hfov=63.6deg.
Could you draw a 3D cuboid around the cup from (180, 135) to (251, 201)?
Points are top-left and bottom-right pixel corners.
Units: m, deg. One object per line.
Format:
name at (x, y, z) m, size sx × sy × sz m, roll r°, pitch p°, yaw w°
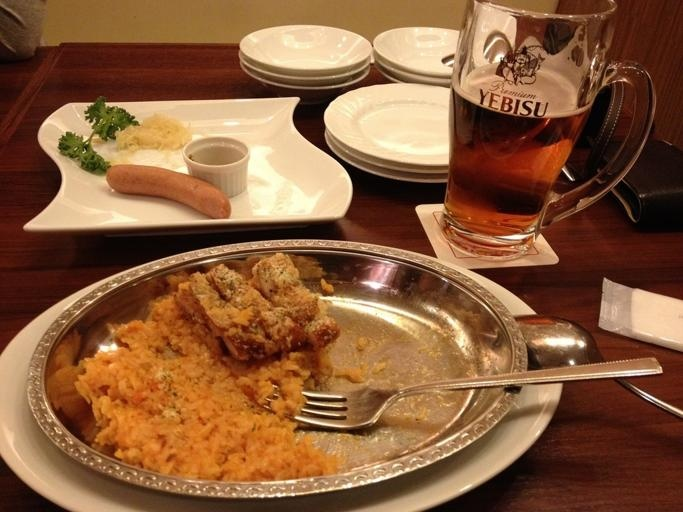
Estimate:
cup at (-0.321, -0.244, 1.443) m, size 0.175 × 0.120 × 0.184 m, roll 1°, pitch 37°, yaw -1°
